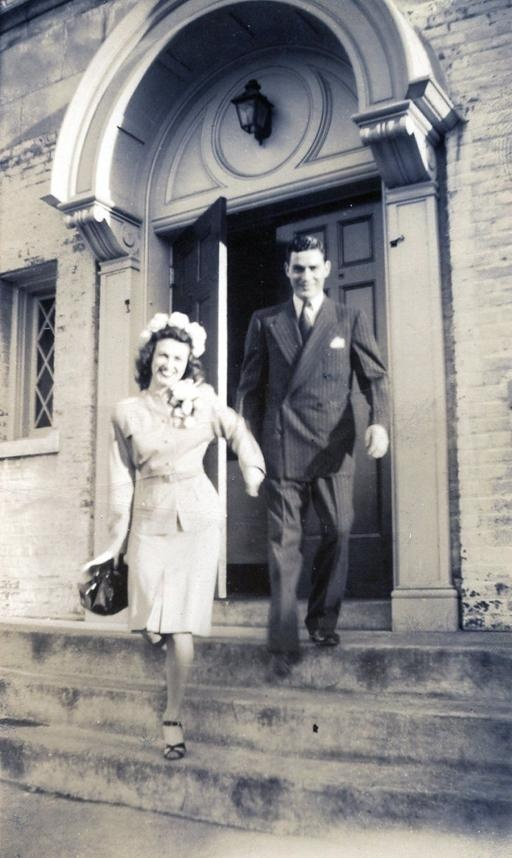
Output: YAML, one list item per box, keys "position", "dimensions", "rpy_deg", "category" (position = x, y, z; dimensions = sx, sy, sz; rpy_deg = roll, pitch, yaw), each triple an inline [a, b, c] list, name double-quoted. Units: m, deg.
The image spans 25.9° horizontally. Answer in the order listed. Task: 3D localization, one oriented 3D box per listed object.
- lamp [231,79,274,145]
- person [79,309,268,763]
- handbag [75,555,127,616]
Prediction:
- position: [-0.003, -1.285, 4.507]
  dimensions: [0.141, 0.297, 0.137]
  rpy_deg: [-8, -21, 21]
  category: "lamp"
- position: [-0.199, 0.257, 2.755]
  dimensions: [0.429, 1.081, 0.192]
  rpy_deg: [0, -5, -2]
  category: "person"
- position: [-0.363, 0.372, 2.676]
  dimensions: [0.051, 0.152, 0.112]
  rpy_deg: [-28, -51, 27]
  category: "handbag"
